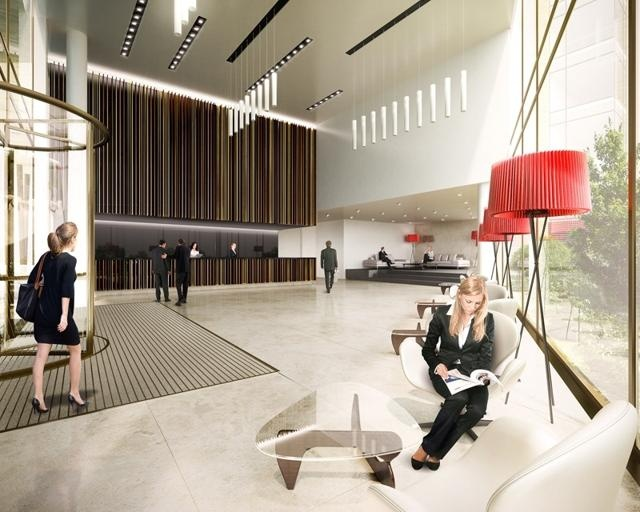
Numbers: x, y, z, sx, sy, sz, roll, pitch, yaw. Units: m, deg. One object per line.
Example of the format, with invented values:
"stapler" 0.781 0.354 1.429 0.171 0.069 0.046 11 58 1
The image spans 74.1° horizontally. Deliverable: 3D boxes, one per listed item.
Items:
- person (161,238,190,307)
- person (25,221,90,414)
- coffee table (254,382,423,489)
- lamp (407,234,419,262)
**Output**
"person" -3.112 0.343 9.452 0.370 1.450 0.780 -2 3 -22
"person" -2.305 0.512 3.735 0.393 1.614 0.375 -2 4 -26
"coffee table" 0.148 1.071 2.686 0.645 0.201 0.697 2 3 -14
"lamp" 4.759 -0.469 21.866 0.657 1.471 1.148 0 3 14
